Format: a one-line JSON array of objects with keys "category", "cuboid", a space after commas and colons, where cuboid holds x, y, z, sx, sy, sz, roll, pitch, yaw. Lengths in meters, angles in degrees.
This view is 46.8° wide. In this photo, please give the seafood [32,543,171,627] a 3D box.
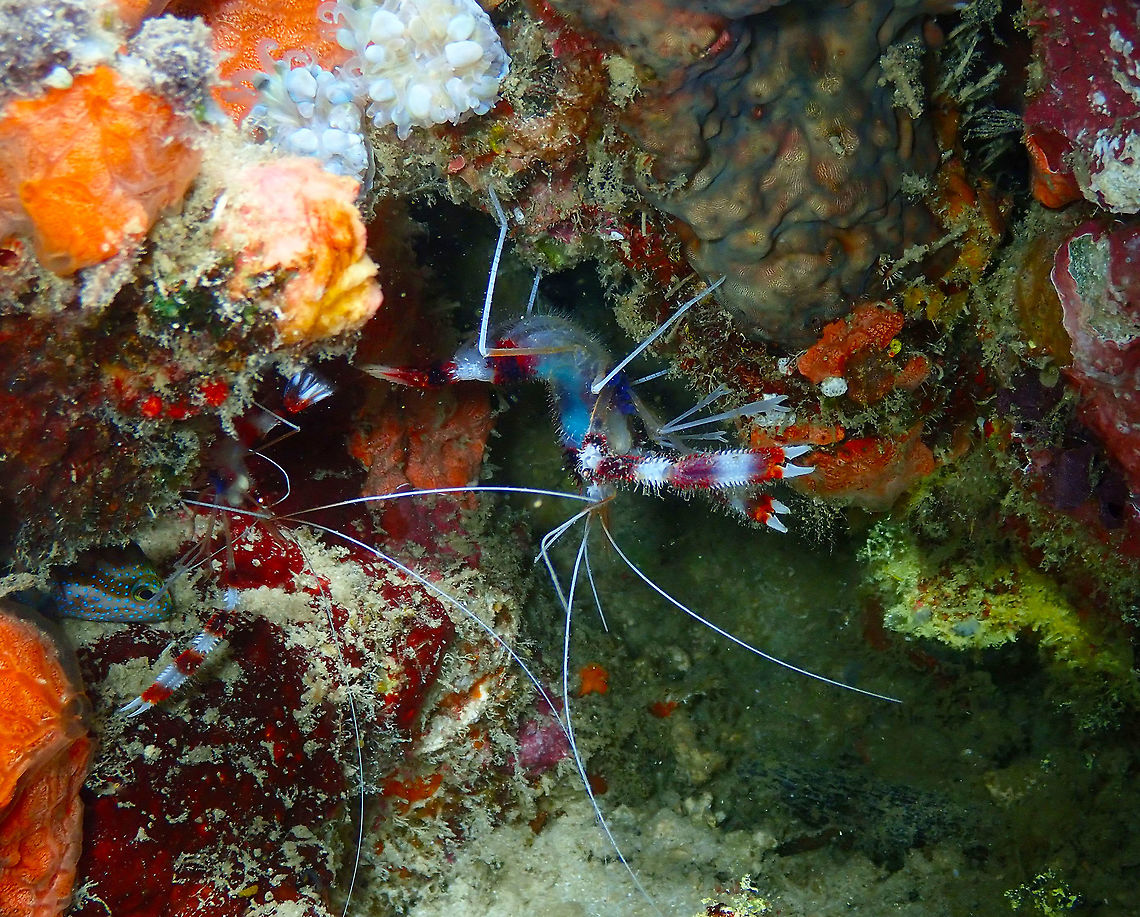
[{"category": "seafood", "cuboid": [-2.200, 0.585, 6.264, 0.545, 0.436, 0.221, -9, 46, -17]}]

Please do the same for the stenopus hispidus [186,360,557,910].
[{"category": "stenopus hispidus", "cuboid": [-1.088, 1.094, 6.809, 1.076, 3.218, 1.201, 22, 28, 39]}]
